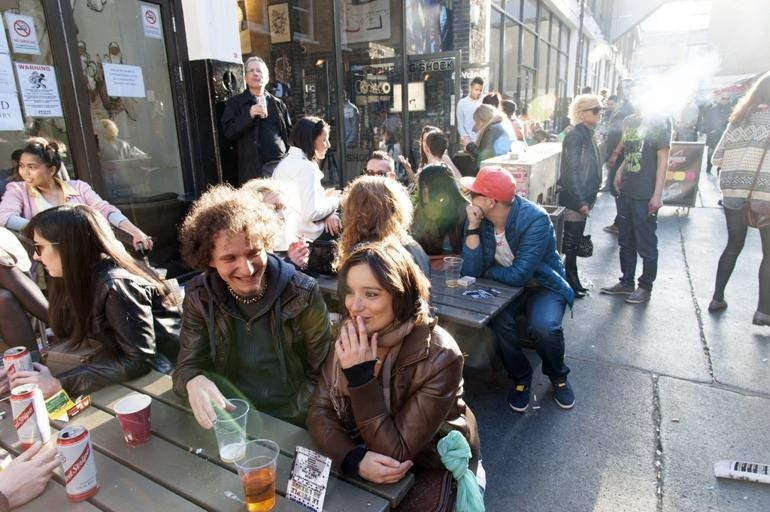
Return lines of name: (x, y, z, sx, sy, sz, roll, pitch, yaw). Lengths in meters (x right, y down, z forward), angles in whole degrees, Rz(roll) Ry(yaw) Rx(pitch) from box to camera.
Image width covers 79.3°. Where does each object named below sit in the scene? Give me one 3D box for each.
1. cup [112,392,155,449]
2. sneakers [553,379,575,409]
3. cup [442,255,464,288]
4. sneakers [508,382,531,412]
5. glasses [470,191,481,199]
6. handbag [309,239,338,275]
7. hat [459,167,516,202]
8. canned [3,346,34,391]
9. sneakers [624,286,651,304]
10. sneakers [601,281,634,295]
cup: (-1.322, 0.886, 2.469, 0.190, 0.206, 0.197, -1, 10, 0)
sneakers: (1.544, 1.209, 4.046, 0.120, 0.110, 0.270, -9, 10, -3)
cup: (0.575, 0.138, 3.991, 0.222, 0.258, 0.225, 2, 17, -1)
sneakers: (1.154, 1.224, 3.992, 0.110, 0.126, 0.307, 2, 6, 17)
glasses: (0.796, -0.533, 4.104, 0.044, 0.041, 0.071, -7, 11, -36)
handbag: (-0.535, 0.008, 4.478, 0.339, 0.369, 0.288, 7, 11, 28)
hat: (0.907, -0.687, 4.085, 0.468, 0.281, 0.318, 20, 38, 14)
canned: (-2.085, 0.627, 2.641, 0.117, 0.184, 0.113, -13, 22, -32)
sneakers: (3.083, 0.482, 5.689, 0.366, 0.142, 0.143, -7, 8, -36)
sneakers: (2.957, 0.434, 5.999, 0.430, 0.176, 0.160, 0, 8, 16)
